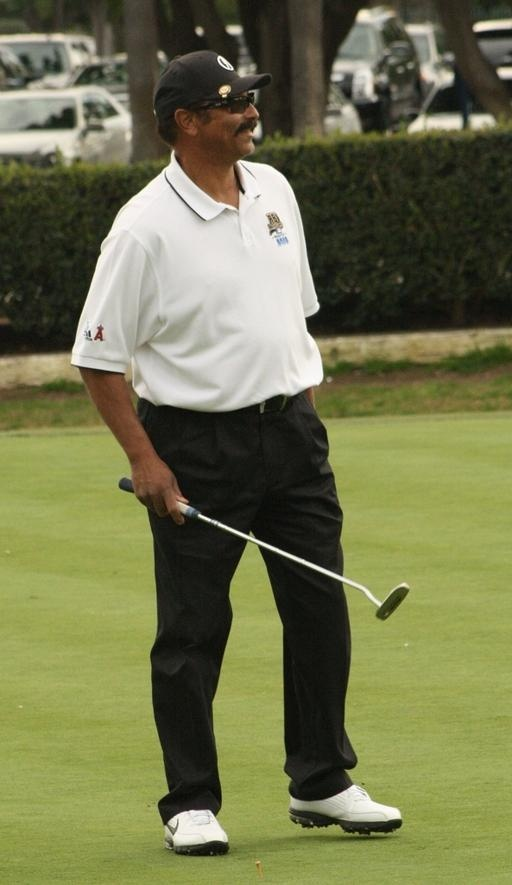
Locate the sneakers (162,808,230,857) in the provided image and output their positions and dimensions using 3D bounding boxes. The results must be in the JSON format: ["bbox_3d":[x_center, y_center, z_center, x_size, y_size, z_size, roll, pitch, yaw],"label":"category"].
[{"bbox_3d":[-0.118,0.796,2.912,0.057,0.058,0.150,1,-9,-20],"label":"sneakers"}]

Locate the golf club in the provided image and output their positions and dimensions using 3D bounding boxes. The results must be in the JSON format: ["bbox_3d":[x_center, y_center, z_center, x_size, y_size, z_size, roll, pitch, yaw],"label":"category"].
[{"bbox_3d":[0.019,0.296,3.712,0.868,0.129,0.157,24,6,20],"label":"golf club"}]

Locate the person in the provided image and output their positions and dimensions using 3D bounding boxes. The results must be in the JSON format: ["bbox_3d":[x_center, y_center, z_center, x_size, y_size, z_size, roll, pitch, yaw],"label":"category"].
[{"bbox_3d":[-0.062,0.018,3.062,0.614,1.686,0.578,-4,9,-8],"label":"person"}]

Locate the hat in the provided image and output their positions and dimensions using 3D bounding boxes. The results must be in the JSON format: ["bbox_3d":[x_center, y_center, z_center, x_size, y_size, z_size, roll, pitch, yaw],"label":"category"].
[{"bbox_3d":[-0.092,-0.769,3.089,0.209,0.116,0.131,-22,5,15],"label":"hat"}]

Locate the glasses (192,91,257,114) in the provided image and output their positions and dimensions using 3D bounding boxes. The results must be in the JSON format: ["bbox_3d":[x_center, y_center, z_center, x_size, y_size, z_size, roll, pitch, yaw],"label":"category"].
[{"bbox_3d":[-0.061,-0.708,3.046,0.083,0.027,0.064,-11,10,20],"label":"glasses"}]

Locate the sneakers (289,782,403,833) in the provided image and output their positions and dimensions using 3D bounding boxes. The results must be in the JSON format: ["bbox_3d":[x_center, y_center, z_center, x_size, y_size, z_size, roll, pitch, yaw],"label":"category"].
[{"bbox_3d":[0.190,0.767,3.099,0.256,0.119,0.094,-1,-3,29],"label":"sneakers"}]
